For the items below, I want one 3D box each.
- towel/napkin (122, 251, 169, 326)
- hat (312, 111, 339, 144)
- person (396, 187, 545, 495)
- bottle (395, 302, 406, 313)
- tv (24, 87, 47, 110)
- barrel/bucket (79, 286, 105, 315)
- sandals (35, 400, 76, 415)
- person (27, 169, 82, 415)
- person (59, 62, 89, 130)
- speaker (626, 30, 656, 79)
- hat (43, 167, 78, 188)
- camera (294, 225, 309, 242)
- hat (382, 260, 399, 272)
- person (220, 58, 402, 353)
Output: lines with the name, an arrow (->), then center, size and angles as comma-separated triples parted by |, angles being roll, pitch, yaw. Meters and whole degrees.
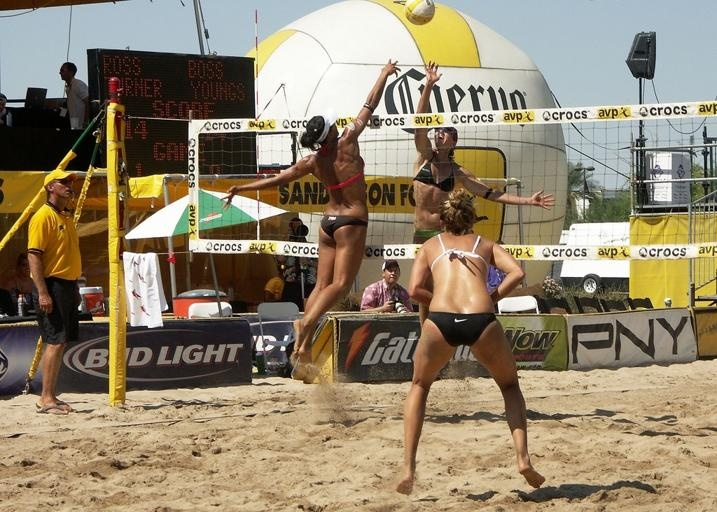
towel/napkin -> -2.315, 0.245, 11.566 | 0.412, 0.238, 0.815 | -6, -39, -14
hat -> -0.308, -1.295, 11.024 | 0.091, 0.336, 0.202 | 12, 1, -34
person -> 0.943, 0.775, 9.511 | 1.137, 2.597, 0.864 | 1, 9, 10
bottle -> 0.512, 0.625, 13.237 | 0.128, 0.086, 0.136 | 21, 3, -1
tv -> -5.189, -2.538, 17.534 | 0.318, 0.283, 0.289 | -3, 10, -19
barrel/bucket -> -3.599, 0.614, 14.738 | 0.369, 0.408, 0.396 | -1, -2, 0
sandals -> -3.143, 1.575, 11.309 | 0.284, 0.118, 0.170 | 0, -1, 2
person -> -3.158, 0.353, 11.380 | 0.480, 2.451, 0.692 | 0, 9, -1
person -> -4.249, -2.409, 16.413 | 0.381, 0.970, 1.172 | -2, 10, -15
speaker -> 5.407, -3.822, 20.838 | 0.515, 0.854, 0.304 | 0, 9, 3
hat -> -3.135, -0.836, 11.498 | 0.293, 0.131, 0.201 | -12, 1, 11
camera -> -0.863, -0.346, 16.662 | 0.154, 0.270, 0.245 | 5, 1, -1
hat -> 0.388, 0.109, 13.207 | 0.154, 0.137, 0.266 | 3, 2, -1
person -> -0.285, -0.400, 11.190 | 1.347, 3.155, 0.813 | 0, 9, 1
